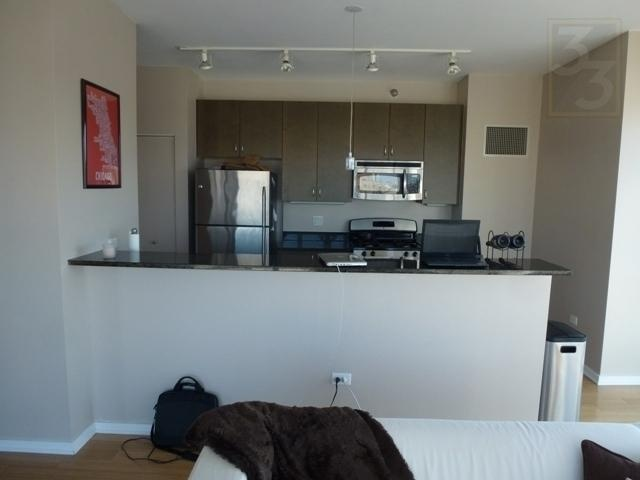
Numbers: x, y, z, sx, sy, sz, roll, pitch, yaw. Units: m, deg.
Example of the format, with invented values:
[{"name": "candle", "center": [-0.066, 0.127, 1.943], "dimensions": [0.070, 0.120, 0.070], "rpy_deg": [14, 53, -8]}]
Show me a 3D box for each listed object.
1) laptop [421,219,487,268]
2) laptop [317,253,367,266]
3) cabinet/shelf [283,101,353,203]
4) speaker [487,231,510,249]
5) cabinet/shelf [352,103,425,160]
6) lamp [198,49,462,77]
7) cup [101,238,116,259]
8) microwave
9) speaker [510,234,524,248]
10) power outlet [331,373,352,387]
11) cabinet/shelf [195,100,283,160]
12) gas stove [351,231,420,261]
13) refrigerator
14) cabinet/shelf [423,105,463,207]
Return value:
[{"name": "laptop", "center": [0.904, 0.026, 3.904], "dimensions": [0.427, 0.299, 0.260], "rpy_deg": [2, 12, 9]}, {"name": "laptop", "center": [0.151, 0.133, 4.034], "dimensions": [0.334, 0.058, 0.403], "rpy_deg": [-1, 7, -3]}, {"name": "cabinet/shelf", "center": [-0.016, -1.023, 6.133], "dimensions": [0.768, 1.086, 0.583], "rpy_deg": [3, 30, 2]}, {"name": "speaker", "center": [1.448, -0.006, 4.542], "dimensions": [0.160, 0.099, 0.197], "rpy_deg": [1, 5, -2]}, {"name": "cabinet/shelf", "center": [0.701, -1.162, 5.868], "dimensions": [0.815, 0.706, 0.318], "rpy_deg": [0, 3, 0]}, {"name": "lamp", "center": [0.090, -1.597, 5.061], "dimensions": [2.509, 0.246, 0.606], "rpy_deg": [-1, 7, 0]}, {"name": "cup", "center": [-1.477, 0.064, 3.911], "dimensions": [0.082, 0.144, 0.147], "rpy_deg": [2, 14, -13]}, {"name": "microwave", "center": [0.725, -0.697, 6.048], "dimensions": [0.727, 0.436, 0.368], "rpy_deg": [1, 28, 5]}, {"name": "speaker", "center": [1.444, 0.009, 4.101], "dimensions": [0.096, 0.106, 0.129], "rpy_deg": [2, 7, 19]}, {"name": "power outlet", "center": [0.153, 0.975, 3.944], "dimensions": [0.138, 0.093, 0.015], "rpy_deg": [-1, 7, -4]}, {"name": "cabinet/shelf", "center": [-0.881, -1.166, 5.817], "dimensions": [0.637, 0.408, 0.227], "rpy_deg": [1, 1, 0]}, {"name": "gas stove", "center": [0.675, 0.056, 5.815], "dimensions": [0.756, 0.234, 0.864], "rpy_deg": [0, 7, 5]}, {"name": "refrigerator", "center": [-0.703, -0.271, 5.672], "dimensions": [0.758, 1.186, 0.776], "rpy_deg": [2, 2, -2]}, {"name": "cabinet/shelf", "center": [1.269, -0.938, 6.062], "dimensions": [0.465, 1.079, 0.389], "rpy_deg": [-5, 17, -11]}]
